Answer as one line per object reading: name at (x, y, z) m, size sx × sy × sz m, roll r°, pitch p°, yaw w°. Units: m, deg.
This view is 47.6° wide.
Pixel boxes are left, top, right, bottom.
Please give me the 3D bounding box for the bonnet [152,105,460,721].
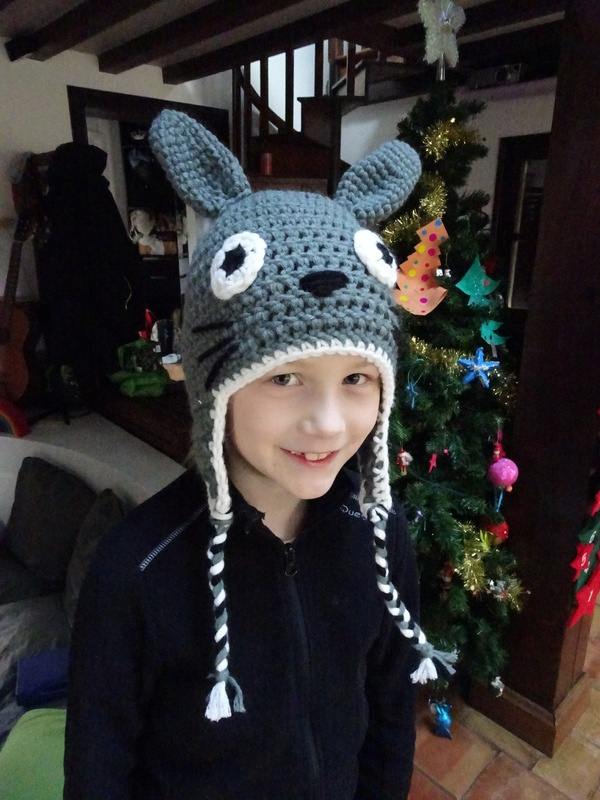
bonnet at (0.030, 0.057, 1.212) m, size 0.494 × 1.059 × 0.480 m, roll -5°, pitch 20°, yaw -17°
